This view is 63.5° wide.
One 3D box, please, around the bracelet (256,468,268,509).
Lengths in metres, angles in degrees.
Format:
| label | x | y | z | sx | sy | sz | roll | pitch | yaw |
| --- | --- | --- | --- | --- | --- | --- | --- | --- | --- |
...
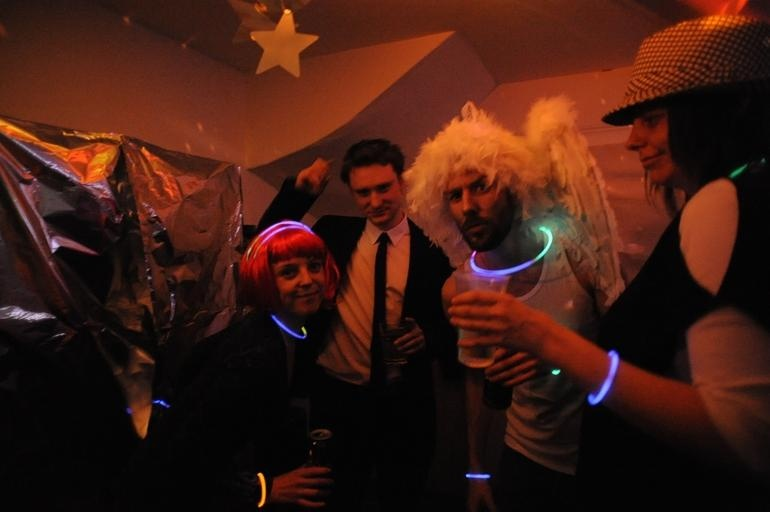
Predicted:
| label | x | y | z | sx | sy | sz | roll | pitch | yaw |
| --- | --- | --- | --- | --- | --- | --- | --- | --- | --- |
| bracelet | -0.466 | 0.909 | 2.379 | 0.026 | 0.100 | 0.106 | 2 | -33 | -16 |

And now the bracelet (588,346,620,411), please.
| label | x | y | z | sx | sy | sz | roll | pitch | yaw |
| --- | --- | --- | --- | --- | --- | --- | --- | --- | --- |
| bracelet | 0.702 | 0.387 | 1.962 | 0.116 | 0.166 | 0.093 | 1 | -9 | -7 |

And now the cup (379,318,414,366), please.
| label | x | y | z | sx | sy | sz | roll | pitch | yaw |
| --- | --- | --- | --- | --- | --- | --- | --- | --- | --- |
| cup | 0.048 | 0.361 | 2.535 | 0.116 | 0.192 | 0.154 | -1 | -9 | 3 |
